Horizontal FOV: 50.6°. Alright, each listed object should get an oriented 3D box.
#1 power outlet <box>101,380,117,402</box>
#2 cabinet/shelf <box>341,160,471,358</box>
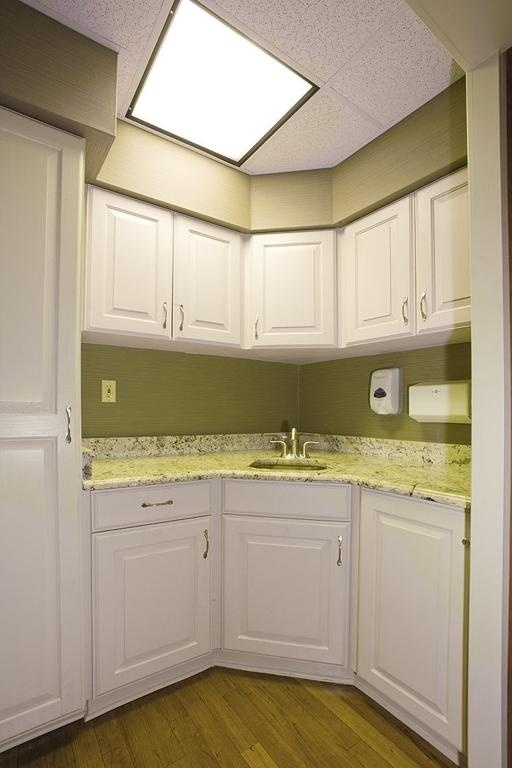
[{"bbox_3d":[-0.649,0.030,2.378,0.022,0.136,0.082,1,-1,39],"label":"power outlet"},{"bbox_3d":[0.584,-0.494,2.069,0.279,0.664,0.722,3,-6,-26],"label":"cabinet/shelf"}]
